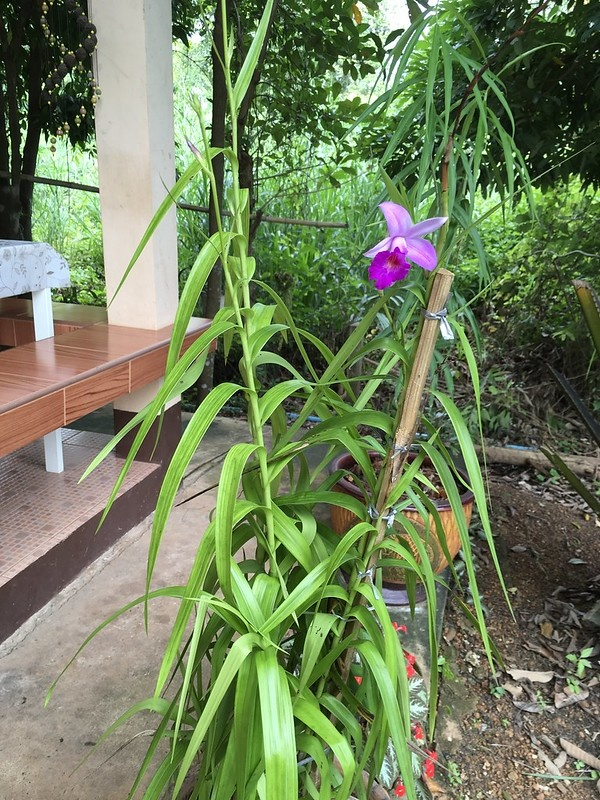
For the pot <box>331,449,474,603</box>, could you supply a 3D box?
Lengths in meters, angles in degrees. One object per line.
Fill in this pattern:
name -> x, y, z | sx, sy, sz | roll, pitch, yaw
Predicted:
pot -> 0.331, 0.422, 1.817 | 0.432, 0.404, 0.376 | 30, 55, 0
